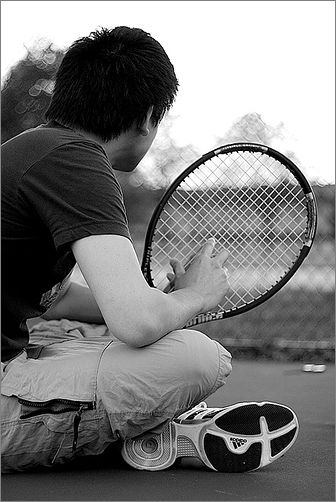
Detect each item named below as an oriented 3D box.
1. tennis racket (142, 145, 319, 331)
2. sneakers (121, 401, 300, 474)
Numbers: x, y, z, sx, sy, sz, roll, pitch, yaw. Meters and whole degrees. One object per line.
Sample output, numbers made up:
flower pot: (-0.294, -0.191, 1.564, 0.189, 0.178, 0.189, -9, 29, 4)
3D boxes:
tennis racket: (0.308, -0.122, 2.223, 1.359, 0.548, 0.065, -45, 15, -30)
sneakers: (0.103, 0.371, 1.047, 0.400, 0.142, 0.182, 0, 4, -1)
